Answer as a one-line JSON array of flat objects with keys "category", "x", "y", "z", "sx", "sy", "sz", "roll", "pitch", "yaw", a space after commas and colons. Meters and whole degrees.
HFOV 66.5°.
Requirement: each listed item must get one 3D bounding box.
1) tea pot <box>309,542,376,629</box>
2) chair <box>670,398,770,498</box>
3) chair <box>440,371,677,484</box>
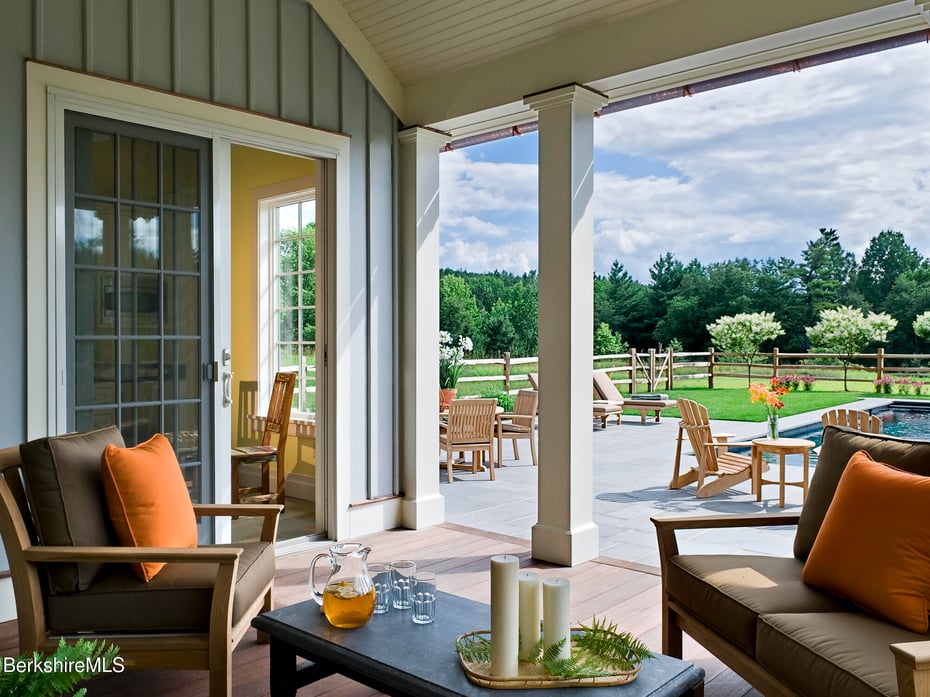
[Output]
[{"category": "tea pot", "x": -0.415, "y": 0.891, "z": 2.706, "sx": 0.342, "sy": 0.313, "sz": 0.253, "roll": -1, "pitch": -3, "yaw": -1}, {"category": "chair", "x": 2.461, "y": 0.979, "z": 7.351, "sx": 1.054, "sy": 1.120, "sz": 0.859, "roll": -2, "pitch": 4, "yaw": -19}, {"category": "chair", "x": 0.605, "y": 0.979, "z": 10.177, "sx": 2.195, "sy": 1.134, "sz": 3.895, "roll": 7, "pitch": 2, "yaw": 39}]
